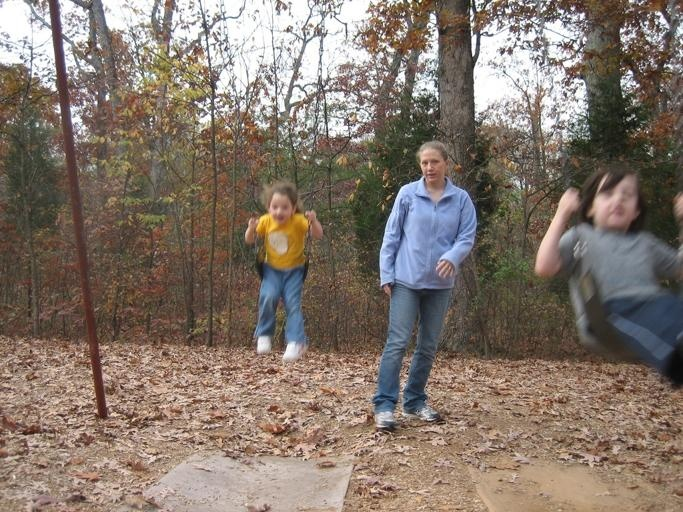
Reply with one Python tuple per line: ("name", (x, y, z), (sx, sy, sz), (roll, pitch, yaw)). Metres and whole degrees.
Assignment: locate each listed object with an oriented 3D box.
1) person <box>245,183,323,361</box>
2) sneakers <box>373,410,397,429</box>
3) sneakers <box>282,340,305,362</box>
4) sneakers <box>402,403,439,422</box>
("person", (-0.786, 0.211, 8.891), (1.027, 2.468, 0.600), (3, 2, 25))
("sneakers", (0.547, 2.023, 8.140), (0.276, 0.247, 0.165), (2, 1, 5))
("sneakers", (-0.618, 1.270, 8.765), (0.228, 0.275, 0.464), (2, 0, 11))
("sneakers", (1.009, 1.989, 8.412), (0.439, 0.212, 0.190), (-3, -9, 28))
